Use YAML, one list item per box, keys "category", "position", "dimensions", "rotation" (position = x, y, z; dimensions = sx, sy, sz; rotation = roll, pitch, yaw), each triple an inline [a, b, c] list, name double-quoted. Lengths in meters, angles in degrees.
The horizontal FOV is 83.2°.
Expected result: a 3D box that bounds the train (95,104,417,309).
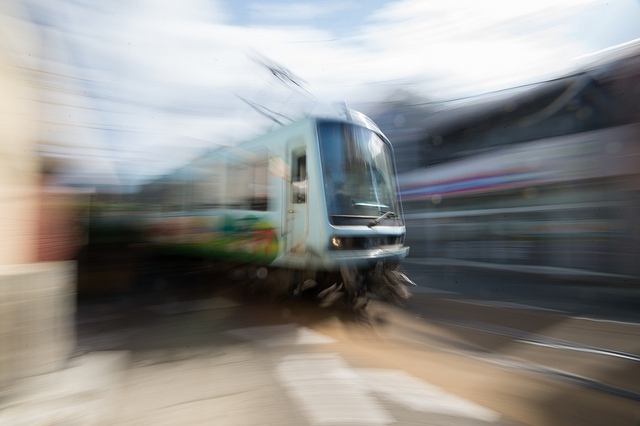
- category: "train"
  position: [-2.488, -0.247, 9.173]
  dimensions: [9.694, 4.484, 2.998]
  rotation: [13, 18, 39]
